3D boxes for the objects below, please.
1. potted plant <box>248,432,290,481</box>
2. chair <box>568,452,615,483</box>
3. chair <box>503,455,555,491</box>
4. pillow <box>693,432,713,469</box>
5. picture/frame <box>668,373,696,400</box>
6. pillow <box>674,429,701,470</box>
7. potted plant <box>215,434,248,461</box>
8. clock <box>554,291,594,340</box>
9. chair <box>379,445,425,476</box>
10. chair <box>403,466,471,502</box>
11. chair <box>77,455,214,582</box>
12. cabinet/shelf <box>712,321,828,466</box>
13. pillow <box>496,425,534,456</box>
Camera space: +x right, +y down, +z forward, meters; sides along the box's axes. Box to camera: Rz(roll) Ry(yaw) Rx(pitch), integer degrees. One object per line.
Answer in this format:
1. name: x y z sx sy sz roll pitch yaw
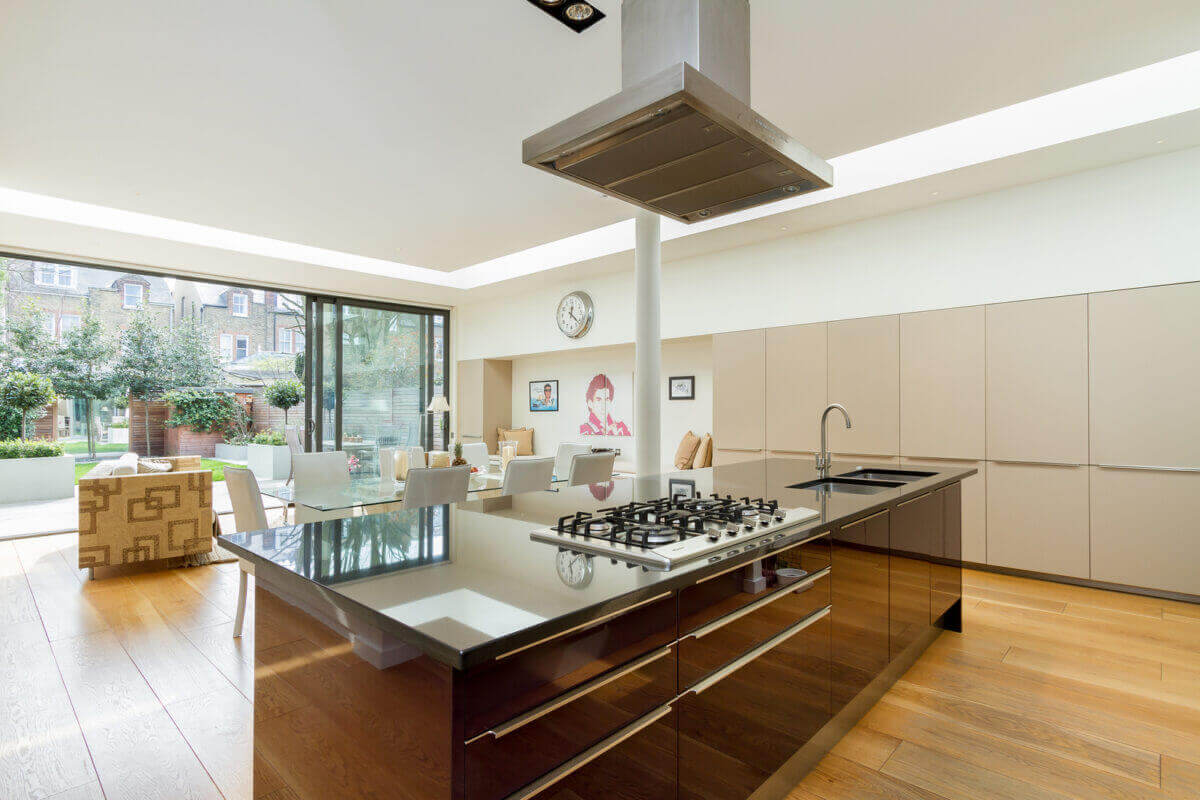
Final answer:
1. potted plant: -5.524 0.964 12.335 0.537 0.619 1.012 -3 5 -34
2. chair: -0.044 0.527 5.835 0.254 0.320 0.287 -1 6 -38
3. chair: -0.579 0.532 5.589 0.321 0.173 0.292 0 1 -34
4. pillow: 1.125 0.545 7.982 0.112 0.329 0.264 21 -17 -13
5. picture/frame: 0.945 -0.153 8.545 0.327 0.247 0.025 4 4 42
6. pillow: 0.929 0.547 8.078 0.122 0.360 0.374 18 -13 -6
7. potted plant: -6.794 0.932 13.648 0.474 0.432 0.658 -1 2 -37
8. clock: -0.335 -1.067 9.282 0.148 0.599 0.642 -11 13 -40
9. chair: -1.798 0.570 6.793 0.411 0.273 0.374 -1 3 -41
10. chair: -1.181 0.620 5.309 0.384 0.217 0.365 1 1 -33
11. chair: -3.892 1.061 6.691 1.196 0.817 0.602 -4 2 3
12. cabinet/shelf: 1.676 -0.053 7.177 1.557 1.638 0.589 -3 -4 44
13. pillow: -1.121 0.540 9.732 0.433 0.366 0.142 2 -30 -7
